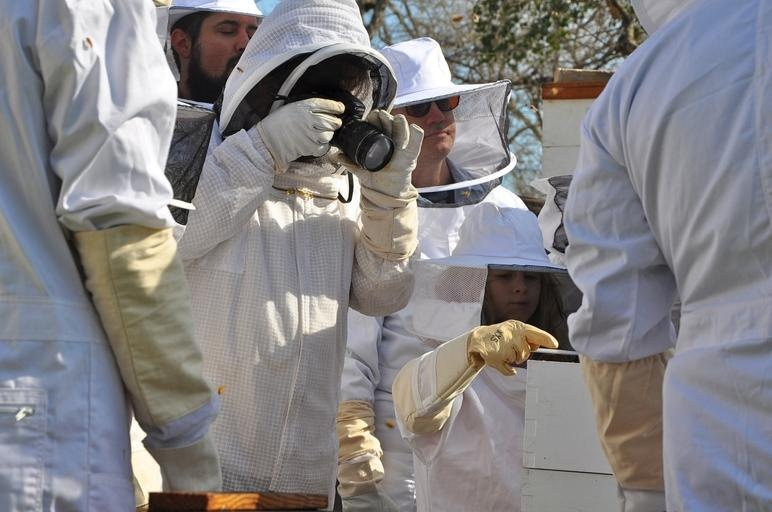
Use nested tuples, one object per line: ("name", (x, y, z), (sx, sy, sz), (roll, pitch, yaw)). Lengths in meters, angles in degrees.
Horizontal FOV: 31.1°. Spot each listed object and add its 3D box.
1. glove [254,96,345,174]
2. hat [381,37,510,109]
("glove", (-0.375, -0.526, 5.936), (0.315, 0.327, 0.240), (-9, 21, 14))
("hat", (0.305, -0.992, 7.797), (0.528, 0.223, 0.547), (-15, 5, 39))
